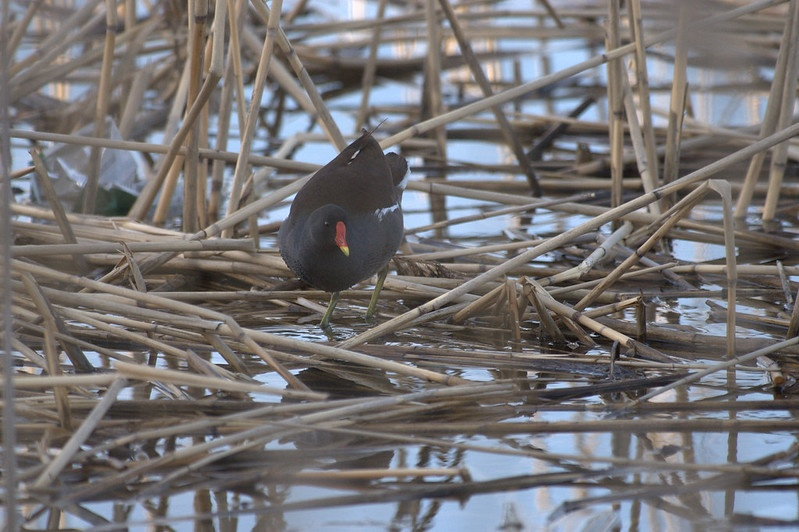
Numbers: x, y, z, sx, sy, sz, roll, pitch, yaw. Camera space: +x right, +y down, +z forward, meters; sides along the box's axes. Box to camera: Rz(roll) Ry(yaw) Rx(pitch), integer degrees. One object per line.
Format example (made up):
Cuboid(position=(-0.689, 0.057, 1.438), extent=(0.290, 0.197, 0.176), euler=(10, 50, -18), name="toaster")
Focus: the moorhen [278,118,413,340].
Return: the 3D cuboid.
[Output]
Cuboid(position=(-0.308, -0.328, 6.429), extent=(0.593, 0.972, 0.762), euler=(2, -4, 21), name="moorhen")
